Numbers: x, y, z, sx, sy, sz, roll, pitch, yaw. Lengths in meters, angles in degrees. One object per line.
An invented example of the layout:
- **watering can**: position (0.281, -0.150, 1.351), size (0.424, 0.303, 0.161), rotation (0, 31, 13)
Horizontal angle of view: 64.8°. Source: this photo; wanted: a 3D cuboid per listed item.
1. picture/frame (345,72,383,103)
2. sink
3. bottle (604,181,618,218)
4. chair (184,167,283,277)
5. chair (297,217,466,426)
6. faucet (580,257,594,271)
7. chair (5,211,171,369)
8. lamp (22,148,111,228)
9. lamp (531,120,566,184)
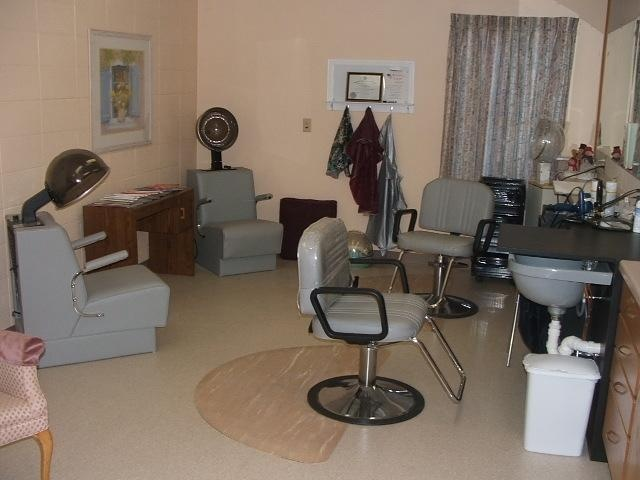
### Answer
- **picture/frame**: position (0.529, -1.806, 5.905), size (0.341, 0.290, 0.034), rotation (2, 6, 4)
- **sink**: position (1.334, 0.235, 2.908), size (0.347, 0.254, 0.320), rotation (5, 7, 19)
- **bottle**: position (2.138, -0.308, 3.708), size (0.094, 0.231, 0.271), rotation (10, 19, 29)
- **chair**: position (-0.926, -0.211, 5.494), size (0.807, 1.011, 0.760), rotation (-8, 19, -26)
- **chair**: position (0.301, 0.464, 3.025), size (0.857, 1.115, 0.681), rotation (0, 17, -4)
- **faucet**: position (1.482, 0.124, 2.790), size (0.070, 0.035, 0.096), rotation (-3, 14, 1)
- **chair**: position (-1.645, 0.302, 3.619), size (0.991, 0.973, 0.718), rotation (-5, 14, -31)
- **lamp**: position (-1.692, -0.351, 3.294), size (0.595, 0.458, 0.369), rotation (-17, 28, -24)
- **lamp**: position (2.382, -0.920, 5.305), size (0.310, 0.670, 0.947), rotation (9, 19, 25)
